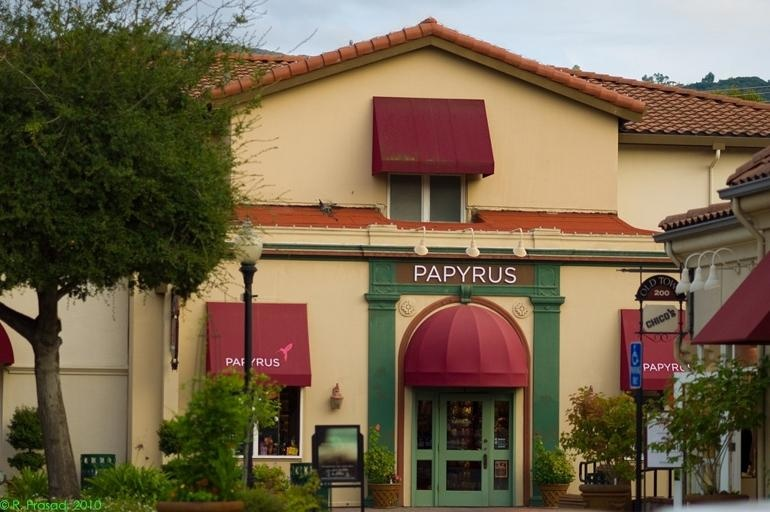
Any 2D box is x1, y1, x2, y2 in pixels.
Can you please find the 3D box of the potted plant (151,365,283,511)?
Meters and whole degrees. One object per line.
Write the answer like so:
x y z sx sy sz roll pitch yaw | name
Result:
-4.164 4.546 44.405 2.679 3.240 2.422 0 -7 -26 | potted plant

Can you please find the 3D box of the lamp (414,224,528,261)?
2.544 -0.442 53.367 3.479 1.039 0.978 4 -12 -13 | lamp

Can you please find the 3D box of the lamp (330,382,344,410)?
-1.492 4.106 52.878 0.354 0.809 0.283 2 -12 -5 | lamp

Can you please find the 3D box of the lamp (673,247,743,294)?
8.029 0.364 45.546 1.265 1.318 2.892 4 -12 -14 | lamp

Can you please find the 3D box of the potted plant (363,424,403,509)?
-0.119 6.127 52.579 0.992 2.444 0.685 2 -12 -1 | potted plant
